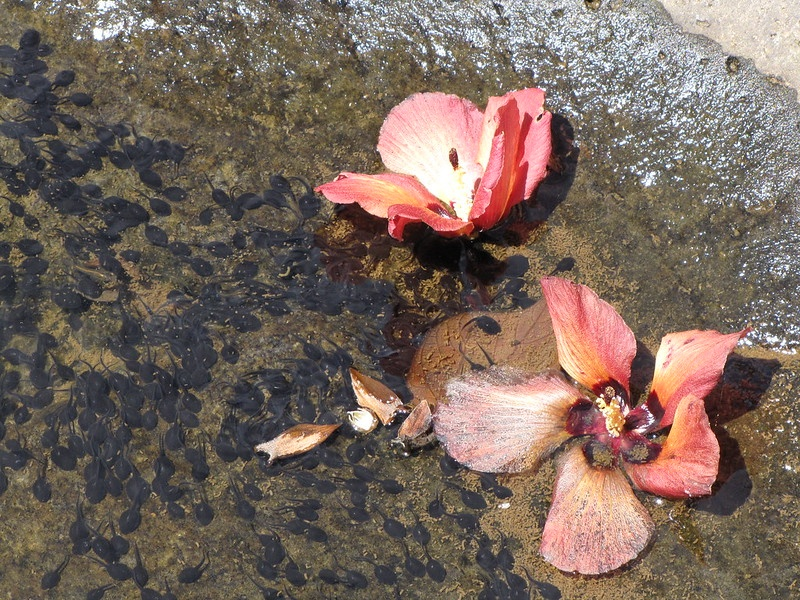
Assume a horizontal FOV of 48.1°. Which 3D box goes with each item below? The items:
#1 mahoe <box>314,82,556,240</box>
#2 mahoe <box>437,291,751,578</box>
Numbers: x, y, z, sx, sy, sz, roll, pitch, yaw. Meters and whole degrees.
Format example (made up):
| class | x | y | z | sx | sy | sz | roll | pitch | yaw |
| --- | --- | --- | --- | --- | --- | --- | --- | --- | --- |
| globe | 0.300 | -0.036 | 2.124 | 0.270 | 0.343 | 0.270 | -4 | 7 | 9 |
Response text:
| class | x | y | z | sx | sy | sz | roll | pitch | yaw |
| --- | --- | --- | --- | --- | --- | --- | --- | --- | --- |
| mahoe | 0.106 | -0.373 | 2.529 | 0.623 | 0.341 | 0.457 | 4 | 80 | 4 |
| mahoe | 0.519 | 0.285 | 2.355 | 0.729 | 0.347 | 0.657 | -44 | 80 | -5 |
